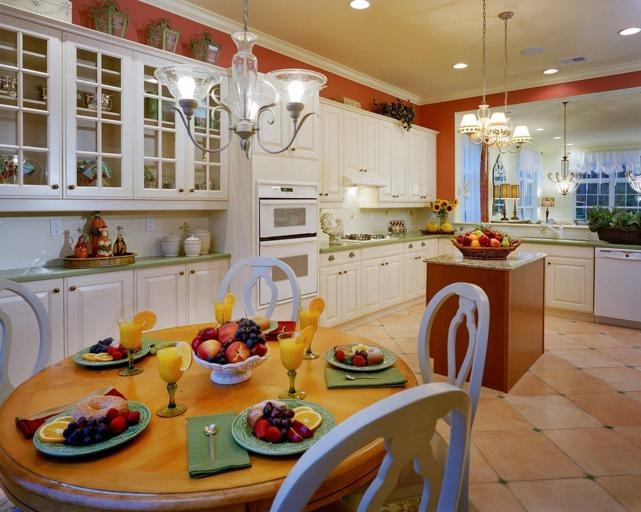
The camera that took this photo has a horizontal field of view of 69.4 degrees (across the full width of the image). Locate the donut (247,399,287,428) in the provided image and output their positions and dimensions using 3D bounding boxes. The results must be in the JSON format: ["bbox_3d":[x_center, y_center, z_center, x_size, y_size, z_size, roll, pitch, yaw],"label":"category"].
[{"bbox_3d":[-0.173,0.488,1.485,0.082,0.037,0.086,0,17,37],"label":"donut"}]

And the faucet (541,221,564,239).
[{"bbox_3d":[2.910,-0.307,5.832,0.236,0.167,0.384,1,14,-3],"label":"faucet"}]

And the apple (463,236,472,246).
[{"bbox_3d":[1.200,-0.120,3.806,0.058,0.072,0.058,-6,3,-11],"label":"apple"}]

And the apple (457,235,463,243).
[{"bbox_3d":[1.169,-0.140,3.856,0.048,0.051,0.047,5,8,1],"label":"apple"}]

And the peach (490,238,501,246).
[{"bbox_3d":[1.403,-0.103,3.712,0.064,0.053,0.051,14,0,26],"label":"peach"}]

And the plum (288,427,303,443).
[{"bbox_3d":[-0.073,0.541,1.401,0.033,0.016,0.033,40,-15,21],"label":"plum"}]

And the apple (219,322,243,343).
[{"bbox_3d":[-0.329,0.282,1.758,0.062,0.079,0.067,25,-6,0],"label":"apple"}]

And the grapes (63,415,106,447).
[{"bbox_3d":[-0.705,0.529,1.396,0.078,0.032,0.090,10,10,13],"label":"grapes"}]

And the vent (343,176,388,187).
[{"bbox_3d":[0.529,-0.871,5.391,0.162,0.147,0.768,10,17,32],"label":"vent"}]

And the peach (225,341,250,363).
[{"bbox_3d":[-0.296,0.346,1.672,0.070,0.074,0.073,-13,22,8],"label":"peach"}]

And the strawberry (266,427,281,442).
[{"bbox_3d":[-0.139,0.540,1.397,0.040,0.043,0.040,-3,-2,9],"label":"strawberry"}]

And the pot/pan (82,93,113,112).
[{"bbox_3d":[-1.596,-1.110,3.332,0.115,0.063,0.142,1,-1,-6],"label":"pot/pan"}]

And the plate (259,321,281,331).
[{"bbox_3d":[-0.244,0.338,2.234,0.080,0.019,0.083,4,7,37],"label":"plate"}]

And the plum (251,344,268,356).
[{"bbox_3d":[-0.220,0.347,1.705,0.046,0.059,0.047,-2,8,-6],"label":"plum"}]

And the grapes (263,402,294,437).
[{"bbox_3d":[-0.126,0.499,1.433,0.069,0.042,0.093,29,25,-16],"label":"grapes"}]

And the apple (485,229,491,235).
[{"bbox_3d":[1.391,-0.194,3.854,0.041,0.052,0.043,-2,2,-42],"label":"apple"}]

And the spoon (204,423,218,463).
[{"bbox_3d":[-0.332,0.574,1.412,0.037,0.023,0.163,-3,8,-12],"label":"spoon"}]

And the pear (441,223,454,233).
[{"bbox_3d":[1.841,-0.393,6.755,0.143,0.152,0.139,-21,-6,29],"label":"pear"}]

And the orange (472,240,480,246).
[{"bbox_3d":[1.255,-0.097,3.754,0.051,0.062,0.050,-13,14,-28],"label":"orange"}]

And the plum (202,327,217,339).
[{"bbox_3d":[-0.427,0.306,1.814,0.042,0.053,0.044,-9,-40,12],"label":"plum"}]

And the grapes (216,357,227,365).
[{"bbox_3d":[-0.360,0.376,1.681,0.025,0.011,0.025,3,13,1],"label":"grapes"}]

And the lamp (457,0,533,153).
[{"bbox_3d":[1.925,-2.026,5.156,0.604,1.907,1.049,4,5,42],"label":"lamp"}]

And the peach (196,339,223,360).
[{"bbox_3d":[-0.401,0.344,1.695,0.073,0.076,0.072,0,0,2],"label":"peach"}]

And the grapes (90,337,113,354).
[{"bbox_3d":[-0.947,0.390,2.035,0.060,0.023,0.082,-14,-4,-10],"label":"grapes"}]

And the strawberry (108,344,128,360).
[{"bbox_3d":[-0.850,0.406,1.960,0.061,0.025,0.060,39,-3,-29],"label":"strawberry"}]

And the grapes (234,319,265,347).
[{"bbox_3d":[-0.265,0.293,1.764,0.064,0.056,0.111,10,4,-2],"label":"grapes"}]

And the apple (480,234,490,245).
[{"bbox_3d":[1.324,-0.137,3.752,0.064,0.080,0.066,-2,-4,1],"label":"apple"}]

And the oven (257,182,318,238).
[{"bbox_3d":[-0.379,-0.414,4.321,0.707,0.537,0.423,-6,8,-41],"label":"oven"}]

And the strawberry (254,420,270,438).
[{"bbox_3d":[-0.177,0.529,1.414,0.029,0.050,0.037,24,-39,-30],"label":"strawberry"}]

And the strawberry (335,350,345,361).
[{"bbox_3d":[0.083,0.412,1.912,0.032,0.037,0.034,-1,-1,-12],"label":"strawberry"}]

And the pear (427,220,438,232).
[{"bbox_3d":[1.660,-0.436,6.832,0.129,0.110,0.173,-4,11,17],"label":"pear"}]

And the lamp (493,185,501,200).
[{"bbox_3d":[3.428,-1.254,8.970,0.096,0.239,0.476,4,15,13],"label":"lamp"}]

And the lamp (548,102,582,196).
[{"bbox_3d":[5.207,-2.222,9.856,0.614,1.825,0.628,-4,14,6],"label":"lamp"}]
